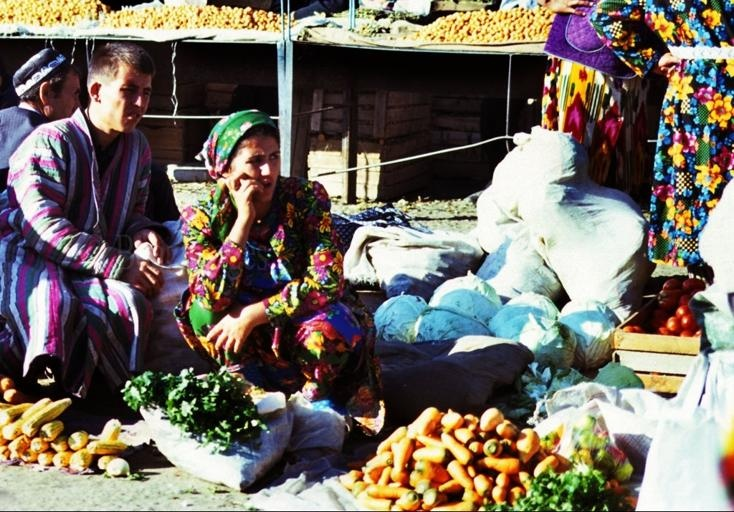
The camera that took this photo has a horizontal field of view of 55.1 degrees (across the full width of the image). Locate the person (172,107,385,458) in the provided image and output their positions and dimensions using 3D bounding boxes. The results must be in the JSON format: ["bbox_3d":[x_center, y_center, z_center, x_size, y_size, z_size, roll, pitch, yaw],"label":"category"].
[{"bbox_3d":[-0.506,0.160,3.717,1.011,1.773,1.035,-10,16,-23],"label":"person"}]
